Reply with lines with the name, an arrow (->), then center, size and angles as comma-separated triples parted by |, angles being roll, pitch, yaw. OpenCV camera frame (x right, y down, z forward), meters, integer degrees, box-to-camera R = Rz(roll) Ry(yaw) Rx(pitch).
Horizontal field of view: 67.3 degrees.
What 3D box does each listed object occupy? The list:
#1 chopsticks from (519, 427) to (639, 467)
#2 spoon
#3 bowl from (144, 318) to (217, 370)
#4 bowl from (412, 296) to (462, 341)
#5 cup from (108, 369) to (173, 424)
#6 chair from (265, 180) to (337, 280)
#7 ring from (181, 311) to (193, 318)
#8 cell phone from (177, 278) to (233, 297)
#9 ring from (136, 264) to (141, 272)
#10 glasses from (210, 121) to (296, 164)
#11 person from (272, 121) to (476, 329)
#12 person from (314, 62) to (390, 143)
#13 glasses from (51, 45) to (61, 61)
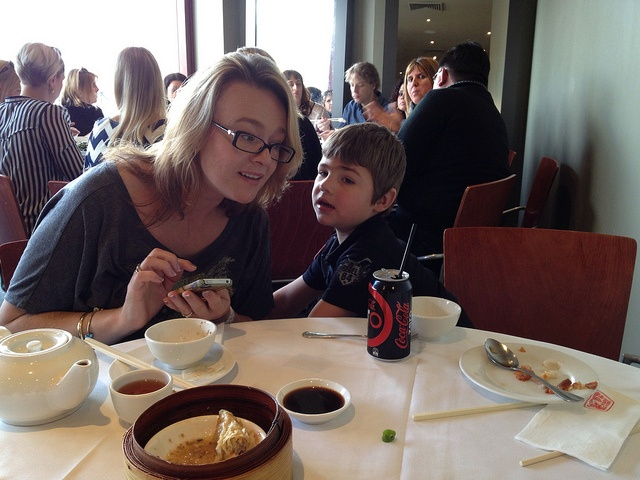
chopsticks -> 0.500, 0.406, 0.934 | 0.203, 0.016, 0.017 | -9, -12, -10
spoon -> 0.478, 0.295, 1.103 | 0.056, 0.041, 0.265 | 0, 17, -16
bowl -> -0.344, 0.266, 1.204 | 0.157, 0.098, 0.164 | 4, 13, -1
bowl -> 0.307, 0.210, 1.321 | 0.113, 0.073, 0.120 | -1, 7, 0
cup -> -0.369, 0.304, 0.996 | 0.099, 0.079, 0.114 | -1, 15, 0
chair -> -0.116, -0.074, 2.515 | 0.350, 0.572, 0.426 | -2, 18, -7
ring -> -0.376, 0.220, 1.369 | 0.021, 0.021, 0.023 | -5, 14, 1
cell phone -> -0.311, 0.125, 1.304 | 0.139, 0.057, 0.061 | -7, 19, -19
ring -> -0.495, 0.078, 1.324 | 0.012, 0.015, 0.006 | 34, -8, 36
glasses -> -0.188, -0.298, 1.488 | 0.251, 0.140, 0.112 | -14, 22, -36
person -> 0.270, -0.041, 2.005 | 0.850, 0.737, 0.488 | 8, -4, -21
person -> 0.420, -1.330, 5.263 | 0.664, 1.129, 0.763 | -2, 20, -27
glasses -> -1.889, -1.364, 3.503 | 0.030, 0.087, 0.067 | -5, 25, 20
